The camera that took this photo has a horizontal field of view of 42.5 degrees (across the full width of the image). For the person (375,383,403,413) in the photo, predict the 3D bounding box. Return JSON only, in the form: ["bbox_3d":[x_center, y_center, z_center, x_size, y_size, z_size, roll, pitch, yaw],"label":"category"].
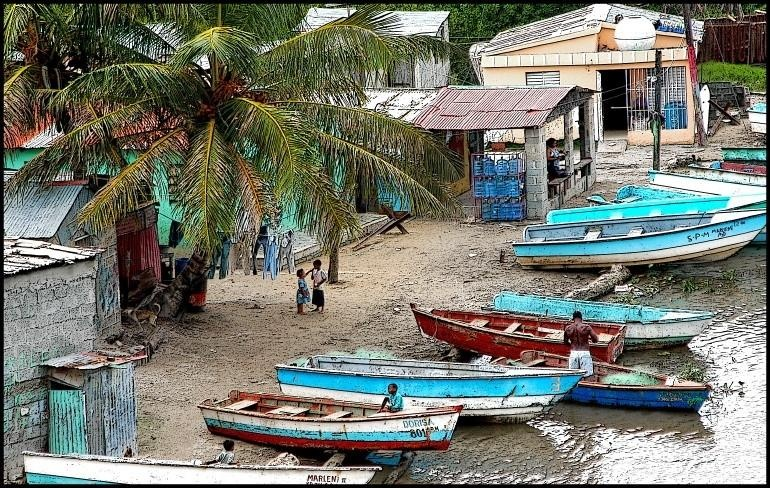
[{"bbox_3d":[0.212,3.606,23.534,0.564,0.812,0.569,6,10,16],"label":"person"}]

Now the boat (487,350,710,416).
[{"bbox_3d":[5.305,3.991,25.705,5.886,1.124,1.848,9,25,29],"label":"boat"}]

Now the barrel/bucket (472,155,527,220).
[{"bbox_3d":[4.403,-2.231,37.906,2.155,3.481,2.275,-1,8,0],"label":"barrel/bucket"}]

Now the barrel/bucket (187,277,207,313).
[{"bbox_3d":[-5.697,1.538,29.878,0.628,1.202,0.649,6,30,-4],"label":"barrel/bucket"}]

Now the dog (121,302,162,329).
[{"bbox_3d":[-6.814,2.077,28.257,1.180,0.722,0.443,-2,12,19],"label":"dog"}]

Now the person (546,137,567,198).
[{"bbox_3d":[6.878,-3.180,39.498,0.781,2.262,0.680,-15,25,-15],"label":"person"}]

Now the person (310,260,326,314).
[{"bbox_3d":[-2.014,1.295,30.230,0.441,1.629,0.752,-6,7,-10],"label":"person"}]
